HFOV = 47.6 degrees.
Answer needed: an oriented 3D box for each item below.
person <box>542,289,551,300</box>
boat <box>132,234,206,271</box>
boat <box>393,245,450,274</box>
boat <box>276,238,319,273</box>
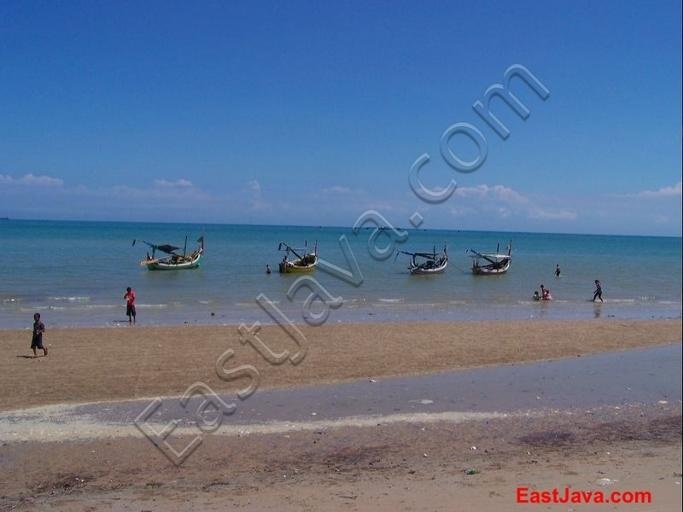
[{"bbox_3d":[13.920,2.621,52.489,0.499,0.982,0.675,-4,-16,22],"label":"person"},{"bbox_3d":[-15.789,-0.159,72.880,1.972,3.109,7.879,3,7,38],"label":"boat"},{"bbox_3d":[9.679,0.382,93.816,8.065,4.017,3.335,-3,7,-11],"label":"boat"},{"bbox_3d":[-3.777,0.184,70.625,2.116,2.559,5.890,10,9,28],"label":"boat"}]
